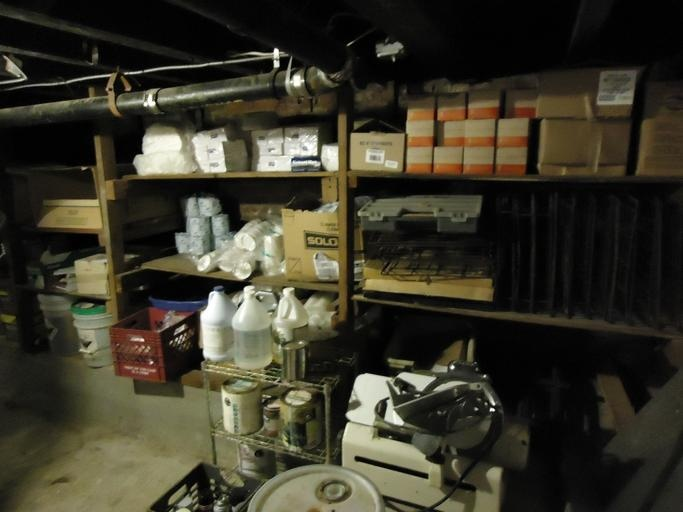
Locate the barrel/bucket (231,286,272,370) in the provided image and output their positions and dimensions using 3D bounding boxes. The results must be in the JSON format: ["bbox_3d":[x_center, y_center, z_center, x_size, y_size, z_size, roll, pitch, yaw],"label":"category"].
[{"bbox_3d":[-0.440,0.385,2.966,0.151,0.443,0.212,6,16,30],"label":"barrel/bucket"}]

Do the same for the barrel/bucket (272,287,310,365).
[{"bbox_3d":[-0.263,0.378,2.961,0.187,0.415,0.211,-4,14,-7],"label":"barrel/bucket"}]

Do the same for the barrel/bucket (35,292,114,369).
[{"bbox_3d":[-1.859,0.519,4.203,0.668,0.518,0.581,1,7,-8],"label":"barrel/bucket"}]
